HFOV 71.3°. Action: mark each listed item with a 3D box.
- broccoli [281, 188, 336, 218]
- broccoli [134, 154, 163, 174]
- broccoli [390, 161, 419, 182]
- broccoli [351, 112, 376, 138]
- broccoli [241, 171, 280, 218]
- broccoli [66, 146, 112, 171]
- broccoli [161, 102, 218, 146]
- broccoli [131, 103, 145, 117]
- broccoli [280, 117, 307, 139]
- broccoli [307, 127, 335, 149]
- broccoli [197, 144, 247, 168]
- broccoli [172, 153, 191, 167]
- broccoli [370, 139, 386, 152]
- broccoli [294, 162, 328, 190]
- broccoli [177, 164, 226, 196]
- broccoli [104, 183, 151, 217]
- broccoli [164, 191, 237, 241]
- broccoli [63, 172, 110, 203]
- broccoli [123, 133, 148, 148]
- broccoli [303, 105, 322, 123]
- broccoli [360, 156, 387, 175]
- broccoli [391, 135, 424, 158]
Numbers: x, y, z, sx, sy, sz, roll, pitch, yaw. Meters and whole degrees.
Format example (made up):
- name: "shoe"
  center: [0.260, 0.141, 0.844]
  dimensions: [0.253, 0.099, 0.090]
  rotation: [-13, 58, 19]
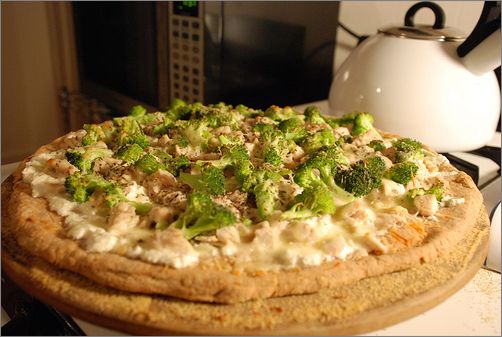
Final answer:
- name: "broccoli"
  center: [0.242, 0.146, 1.392]
  dimensions: [0.163, 0.080, 0.127]
  rotation: [-16, 47, -5]
- name: "broccoli"
  center: [-0.446, -0.003, 1.582]
  dimensions: [0.093, 0.028, 0.096]
  rotation: [49, 62, 0]
- name: "broccoli"
  center: [0.687, 0.015, 1.574]
  dimensions: [0.098, 0.044, 0.092]
  rotation: [-1, 40, 40]
- name: "broccoli"
  center: [0.643, -0.250, 2.011]
  dimensions: [0.120, 0.035, 0.140]
  rotation: [0, 78, -6]
- name: "broccoli"
  center: [0.046, 0.100, 1.462]
  dimensions: [0.158, 0.079, 0.261]
  rotation: [-3, 36, -1]
- name: "broccoli"
  center: [-0.759, -0.062, 1.656]
  dimensions: [0.112, 0.058, 0.152]
  rotation: [35, 30, 27]
- name: "broccoli"
  center: [-0.393, -0.331, 2.152]
  dimensions: [0.088, 0.371, 0.323]
  rotation: [10, 0, 38]
- name: "broccoli"
  center: [-0.706, -0.352, 2.209]
  dimensions: [0.069, 0.076, 0.028]
  rotation: [3, 42, -9]
- name: "broccoli"
  center: [0.229, -0.219, 1.936]
  dimensions: [0.106, 0.057, 0.143]
  rotation: [-7, 28, -4]
- name: "broccoli"
  center: [0.364, -0.152, 1.794]
  dimensions: [0.083, 0.038, 0.143]
  rotation: [39, 52, 23]
- name: "broccoli"
  center: [-0.120, -0.057, 1.630]
  dimensions: [0.165, 0.079, 0.124]
  rotation: [-17, 32, -17]
- name: "broccoli"
  center: [-0.326, -0.037, 1.642]
  dimensions: [0.055, 0.017, 0.055]
  rotation: [-16, 56, -21]
- name: "broccoli"
  center: [0.660, -0.115, 1.826]
  dimensions: [0.058, 0.019, 0.062]
  rotation: [3, 62, 12]
- name: "broccoli"
  center: [0.259, 0.044, 1.546]
  dimensions: [0.121, 0.065, 0.096]
  rotation: [36, 58, 6]
- name: "broccoli"
  center: [-0.212, 0.050, 1.503]
  dimensions: [0.146, 0.089, 0.126]
  rotation: [2, 22, -4]
- name: "broccoli"
  center: [-0.482, 0.125, 1.416]
  dimensions: [0.166, 0.088, 0.110]
  rotation: [24, 24, -5]
- name: "broccoli"
  center: [-0.180, 0.165, 1.366]
  dimensions: [0.204, 0.166, 0.229]
  rotation: [43, 84, -10]
- name: "broccoli"
  center: [-0.686, 0.066, 1.457]
  dimensions: [0.153, 0.068, 0.117]
  rotation: [-10, 55, -36]
- name: "broccoli"
  center: [-0.580, -0.139, 1.802]
  dimensions: [0.082, 0.052, 0.076]
  rotation: [1, 7, -29]
- name: "broccoli"
  center: [0.393, -0.345, 2.236]
  dimensions: [0.094, 0.043, 0.126]
  rotation: [-22, 30, 5]
- name: "broccoli"
  center: [0.565, -0.018, 1.594]
  dimensions: [0.091, 0.040, 0.091]
  rotation: [-10, 34, -13]
- name: "broccoli"
  center: [0.763, -0.109, 1.742]
  dimensions: [0.110, 0.051, 0.116]
  rotation: [-5, 26, -16]
